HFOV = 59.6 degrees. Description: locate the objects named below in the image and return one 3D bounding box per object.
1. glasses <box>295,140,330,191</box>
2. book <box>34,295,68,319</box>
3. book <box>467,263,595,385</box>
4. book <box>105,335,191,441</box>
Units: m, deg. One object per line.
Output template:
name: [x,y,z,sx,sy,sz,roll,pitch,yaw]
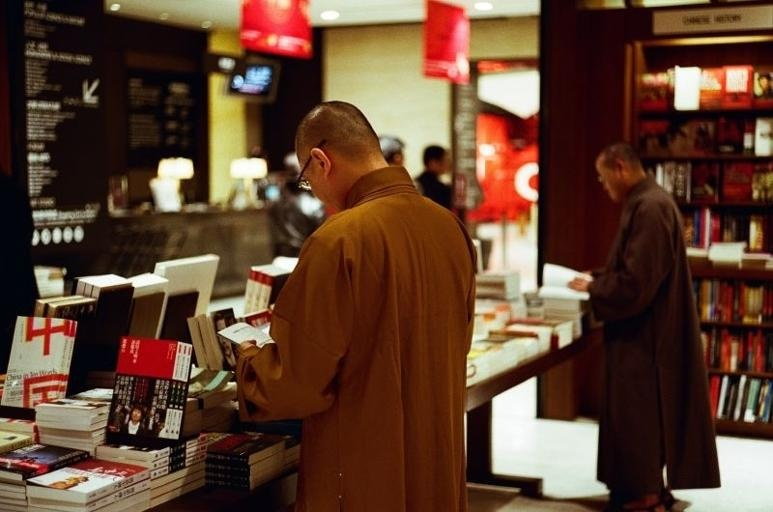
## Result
glasses: [-0.301,-0.311,2.478,0.042,0.152,0.150,22,21,36]
book: [-1.390,0.215,2.798,0.076,0.097,0.143,1,0,24]
book: [0.857,0.439,4.317,0.662,0.173,0.741,4,12,41]
book: [-0.848,0.467,2.464,0.345,0.344,0.083,3,-5,17]
